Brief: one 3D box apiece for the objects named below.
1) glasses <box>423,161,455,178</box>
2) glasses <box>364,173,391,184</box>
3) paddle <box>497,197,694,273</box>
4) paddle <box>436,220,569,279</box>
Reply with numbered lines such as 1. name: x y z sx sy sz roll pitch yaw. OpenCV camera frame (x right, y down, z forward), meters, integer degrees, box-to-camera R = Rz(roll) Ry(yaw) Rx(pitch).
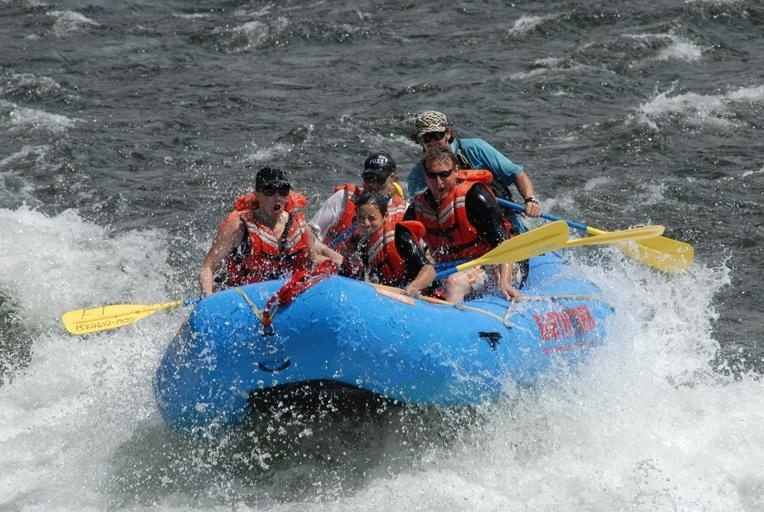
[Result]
1. glasses: 0.685 -0.991 12.107 0.324 0.157 0.144 -1 62 -13
2. glasses: -0.082 -0.956 12.944 0.308 0.175 0.104 6 60 -9
3. paddle: 2.882 -0.236 13.553 2.894 0.372 0.206 15 42 13
4. paddle: 1.389 -0.062 12.226 1.904 0.151 0.329 -18 86 8
